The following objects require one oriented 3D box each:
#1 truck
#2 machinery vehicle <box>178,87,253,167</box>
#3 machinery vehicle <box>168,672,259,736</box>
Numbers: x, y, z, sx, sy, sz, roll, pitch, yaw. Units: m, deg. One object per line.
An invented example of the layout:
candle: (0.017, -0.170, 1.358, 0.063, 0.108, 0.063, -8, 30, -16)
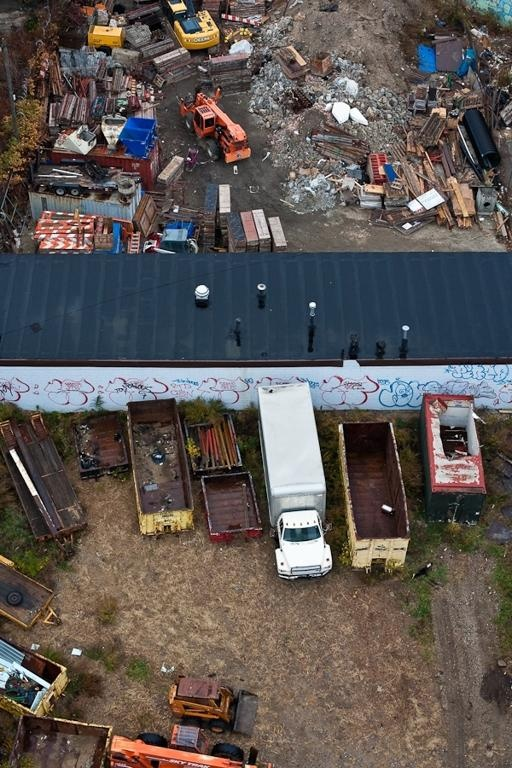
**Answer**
truck: (1.155, 2.807, 18.364, 1.692, 2.546, 5.917, -4, 60, 2)
machinery vehicle: (-2.320, -14.308, 32.123, 2.610, 2.616, 5.318, -32, 70, -23)
machinery vehicle: (-1.000, 7.544, 14.040, 1.943, 1.248, 1.076, 5, 39, 8)
